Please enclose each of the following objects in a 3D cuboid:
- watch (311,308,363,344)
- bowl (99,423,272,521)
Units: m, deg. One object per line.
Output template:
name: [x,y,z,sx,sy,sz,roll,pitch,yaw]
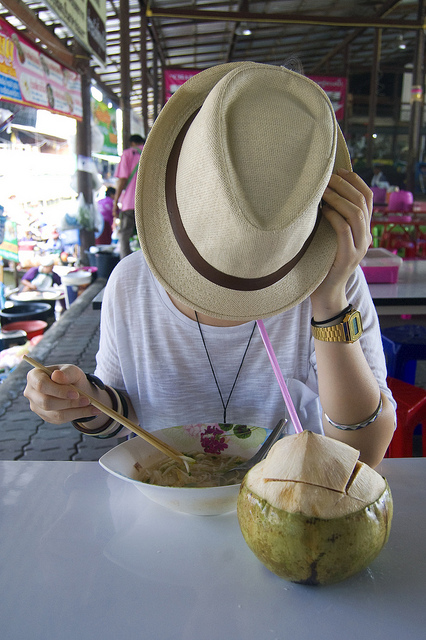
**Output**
watch: [0.264,0.019,1.095,0.096,0.056,0.101,-4,0,24]
bowl: [-0.038,0.262,0.965,0.192,0.066,0.182,-4,5,0]
